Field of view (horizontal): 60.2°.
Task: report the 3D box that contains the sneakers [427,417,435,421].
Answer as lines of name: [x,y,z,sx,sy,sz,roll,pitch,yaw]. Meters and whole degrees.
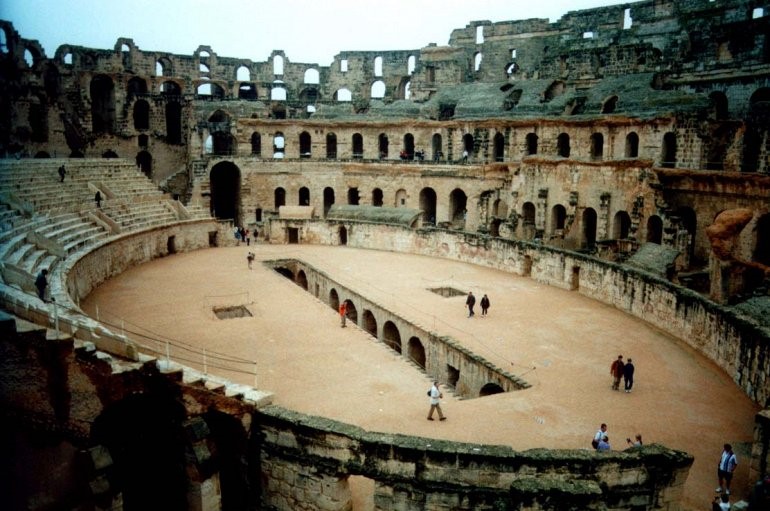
sneakers: [1.424,5.026,20.517,0.245,0.097,0.080,-2,3,22]

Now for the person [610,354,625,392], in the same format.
person: [7.852,3.841,22.351,0.391,1.124,0.887,6,16,20]

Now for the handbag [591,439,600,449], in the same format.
handbag: [6.001,5.381,18.994,0.205,0.190,0.206,-2,9,-3]

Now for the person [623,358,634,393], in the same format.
person: [8.144,3.888,22.107,0.327,1.159,0.697,7,17,24]

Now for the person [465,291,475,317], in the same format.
person: [3.644,2.037,28.206,0.366,0.900,0.961,2,15,6]

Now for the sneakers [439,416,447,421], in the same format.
sneakers: [1.792,5.016,20.504,0.247,0.082,0.137,0,14,-4]

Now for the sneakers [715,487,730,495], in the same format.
sneakers: [9.037,6.231,17.730,0.487,0.187,0.158,-2,3,-27]
